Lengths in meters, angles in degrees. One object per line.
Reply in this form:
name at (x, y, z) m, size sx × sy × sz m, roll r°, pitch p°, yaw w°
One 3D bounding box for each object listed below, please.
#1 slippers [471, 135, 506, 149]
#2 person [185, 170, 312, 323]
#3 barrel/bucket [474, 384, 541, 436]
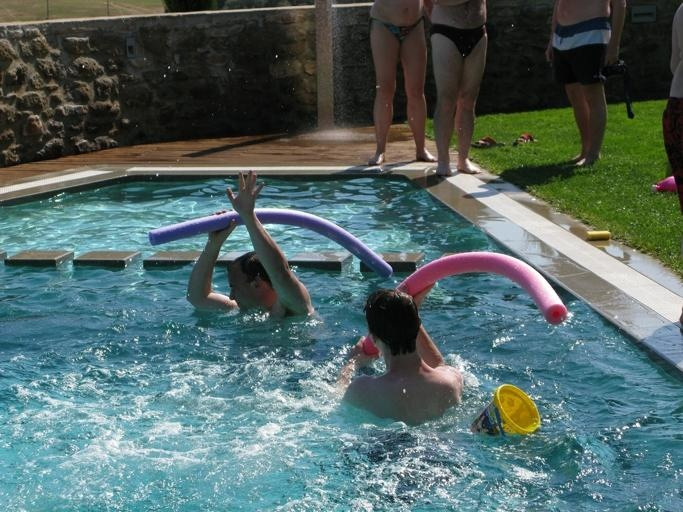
slippers at (1.982, -1.577, 9.275) m, size 0.350 × 0.126 × 0.231 m, roll -10°, pitch -11°, yaw 30°
person at (-0.497, 0.093, 4.293) m, size 0.725 × 0.800 × 0.628 m, roll 17°, pitch -33°, yaw -34°
barrel/bucket at (0.719, 0.691, 3.014) m, size 0.217 × 0.239 × 0.234 m, roll -44°, pitch 24°, yaw 26°
